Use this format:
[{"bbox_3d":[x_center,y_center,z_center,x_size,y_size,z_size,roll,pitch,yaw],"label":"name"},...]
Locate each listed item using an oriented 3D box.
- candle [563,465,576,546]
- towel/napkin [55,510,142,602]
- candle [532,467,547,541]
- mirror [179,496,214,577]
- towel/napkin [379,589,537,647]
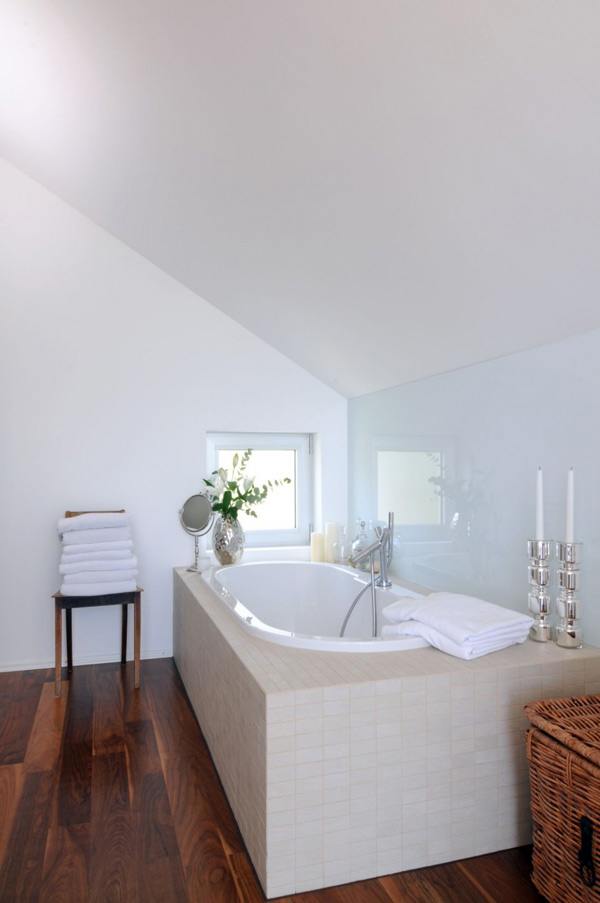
[{"bbox_3d":[0.797,0.158,2.015,0.030,0.210,0.146,-1,-1,22],"label":"candle"},{"bbox_3d":[-0.968,0.519,3.264,0.370,0.395,0.357,3,-15,-23],"label":"towel/napkin"},{"bbox_3d":[0.753,0.164,2.152,0.031,0.212,0.198,-1,-1,19],"label":"candle"},{"bbox_3d":[-0.534,0.407,3.500,0.131,0.262,0.212,-1,-1,-32],"label":"mirror"},{"bbox_3d":[0.498,0.510,2.084,0.258,0.086,0.263,0,1,-38],"label":"towel/napkin"}]
